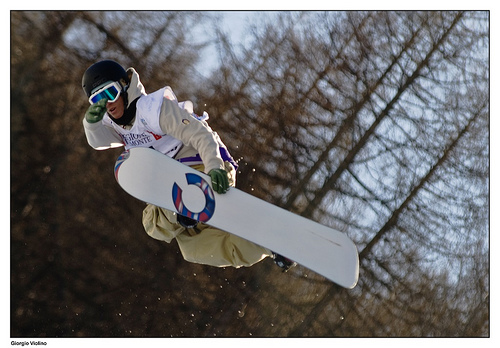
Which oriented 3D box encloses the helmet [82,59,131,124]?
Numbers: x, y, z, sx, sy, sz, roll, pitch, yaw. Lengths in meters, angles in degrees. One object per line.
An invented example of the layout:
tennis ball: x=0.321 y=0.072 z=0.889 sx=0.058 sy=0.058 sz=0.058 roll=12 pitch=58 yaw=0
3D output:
helmet: x=-1.978 y=-1.181 z=7.062 sx=0.434 sy=0.595 sz=0.605 roll=-33 pitch=-66 yaw=16
